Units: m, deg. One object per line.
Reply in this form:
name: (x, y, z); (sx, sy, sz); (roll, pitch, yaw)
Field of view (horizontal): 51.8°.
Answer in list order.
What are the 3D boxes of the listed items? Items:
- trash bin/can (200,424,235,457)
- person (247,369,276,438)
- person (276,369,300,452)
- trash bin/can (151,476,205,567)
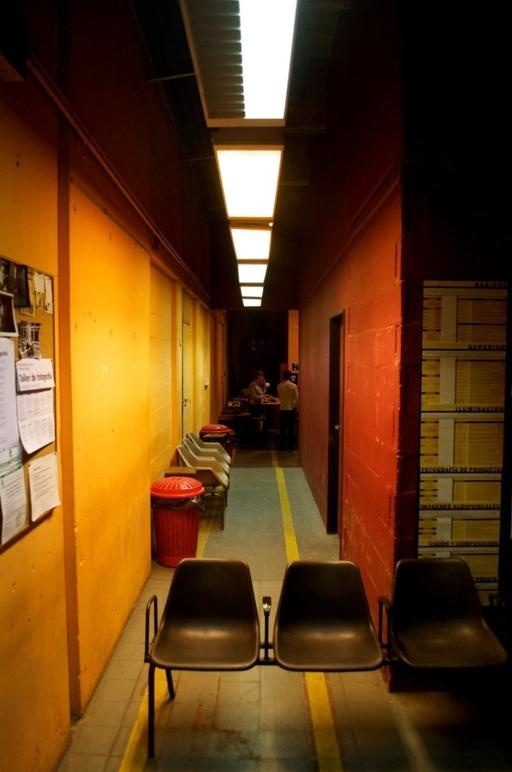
trash bin/can: (-0.582, 0.724, 7.690); (0.376, 0.725, 0.461); (1, 5, 2)
person: (0.125, 0.360, 11.065); (0.518, 1.289, 1.666); (0, 3, 2)
person: (0.577, 0.452, 9.389); (0.332, 1.447, 0.992); (0, 3, 4)
trash bin/can: (-0.644, 1.088, 4.524); (0.485, 1.022, 0.631); (1, 9, -4)
